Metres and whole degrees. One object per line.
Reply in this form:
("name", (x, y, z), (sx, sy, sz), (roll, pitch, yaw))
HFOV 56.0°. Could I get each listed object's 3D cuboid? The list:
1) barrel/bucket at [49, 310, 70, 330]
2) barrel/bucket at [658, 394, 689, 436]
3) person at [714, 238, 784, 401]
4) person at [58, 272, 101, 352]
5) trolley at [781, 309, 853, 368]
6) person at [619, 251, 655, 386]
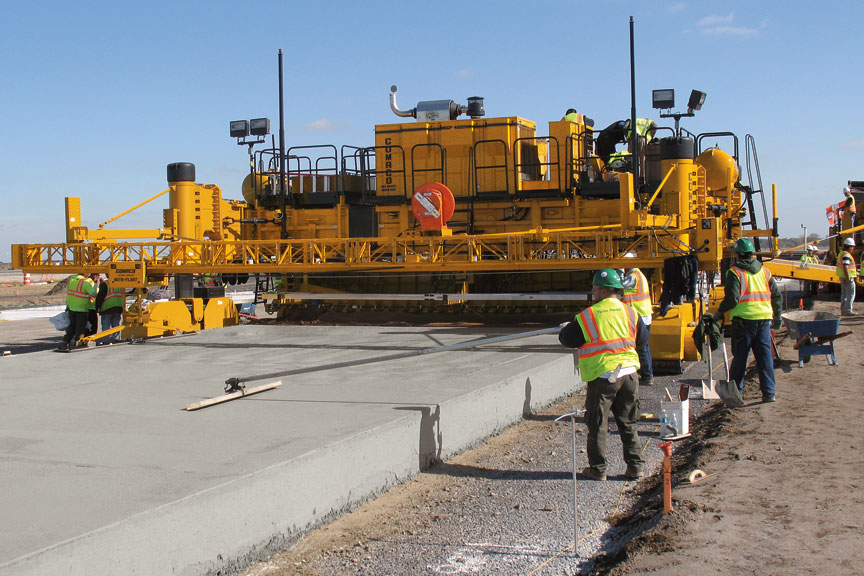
("barrel/bucket", (-8.299, 0.741, 18.195), (0.352, 0.467, 0.698), (-6, 13, -39))
("barrel/bucket", (3.268, 1.775, 11.422), (0.488, 0.657, 0.495), (-1, 4, 0))
("person", (4.922, 0.522, 12.756), (1.039, 2.486, 0.641), (-1, 1, 3))
("person", (-7.947, 0.556, 18.376), (0.640, 1.567, 0.455), (7, 2, 8))
("trolley", (7.010, 0.986, 15.061), (0.896, 0.783, 1.867), (-2, 3, 19))
("person", (3.451, 0.570, 14.227), (0.724, 2.226, 0.752), (-4, 6, 32))
